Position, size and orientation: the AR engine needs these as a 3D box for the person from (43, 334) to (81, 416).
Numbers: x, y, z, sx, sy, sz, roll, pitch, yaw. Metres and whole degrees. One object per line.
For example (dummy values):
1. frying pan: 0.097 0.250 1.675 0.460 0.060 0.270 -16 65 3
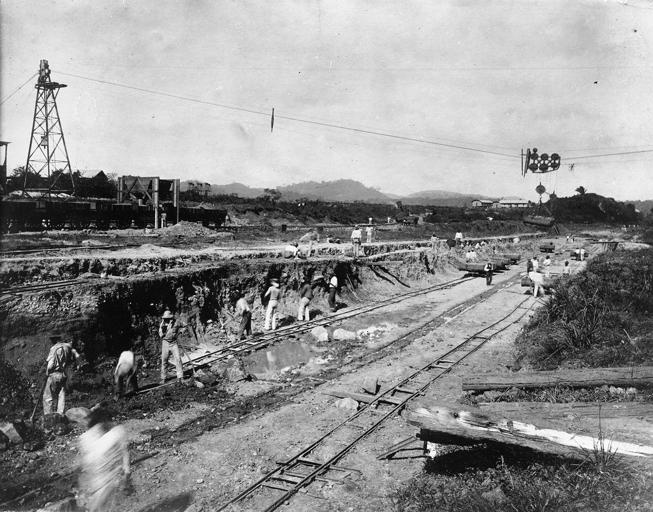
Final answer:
1. person: -6.957 3.158 13.001 0.605 1.787 0.743 2 9 1

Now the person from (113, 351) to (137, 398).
1. person: -5.806 3.329 14.470 0.629 1.380 1.133 -2 10 -24

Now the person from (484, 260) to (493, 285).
1. person: 10.833 1.177 33.676 0.445 1.337 1.457 4 9 16

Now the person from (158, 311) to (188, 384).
1. person: -4.640 2.697 15.030 0.653 2.172 0.836 -1 9 -19
